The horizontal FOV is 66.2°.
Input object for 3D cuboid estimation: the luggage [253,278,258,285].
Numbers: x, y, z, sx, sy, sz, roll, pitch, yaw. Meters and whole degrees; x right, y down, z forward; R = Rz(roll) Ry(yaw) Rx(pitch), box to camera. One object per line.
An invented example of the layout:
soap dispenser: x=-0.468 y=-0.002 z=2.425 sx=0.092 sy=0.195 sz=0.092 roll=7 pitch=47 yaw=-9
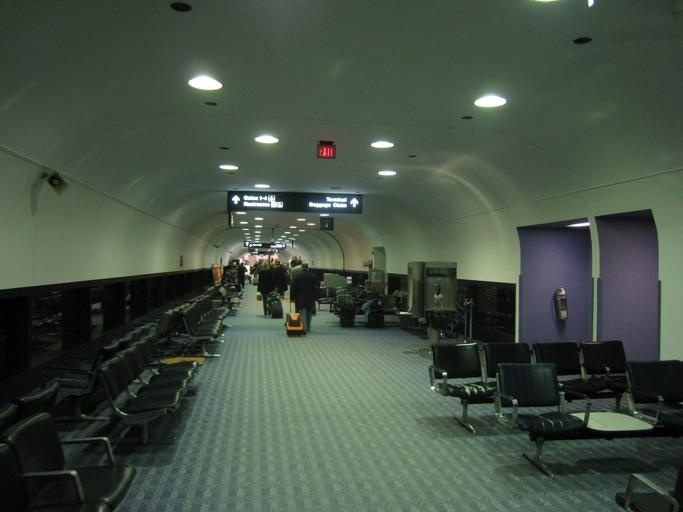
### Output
luggage: x=-6.972 y=2.108 z=42.680 sx=0.551 sy=0.769 sz=1.036 roll=1 pitch=-3 yaw=-8

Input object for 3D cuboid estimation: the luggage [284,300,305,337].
luggage: x=-1.329 y=1.943 z=14.935 sx=0.630 sy=0.610 sz=0.691 roll=1 pitch=-6 yaw=-6

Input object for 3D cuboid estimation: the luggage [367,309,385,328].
luggage: x=1.074 y=2.063 z=17.027 sx=0.661 sy=0.684 sz=0.487 roll=1 pitch=-4 yaw=-8
